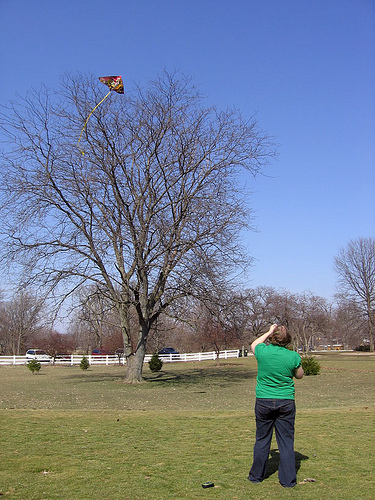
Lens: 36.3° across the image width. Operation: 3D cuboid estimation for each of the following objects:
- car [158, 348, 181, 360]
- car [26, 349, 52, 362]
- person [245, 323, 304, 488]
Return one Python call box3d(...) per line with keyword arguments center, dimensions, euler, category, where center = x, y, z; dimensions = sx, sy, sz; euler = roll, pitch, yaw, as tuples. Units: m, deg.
box3d(center=(-1.738, 10.614, 58.540), dimensions=(1.931, 0.877, 1.253), euler=(-5, -9, 22), category="car")
box3d(center=(-13.769, 9.737, 52.979), dimensions=(2.106, 1.365, 6.655), euler=(0, -12, -14), category="car")
box3d(center=(1.045, 1.851, 6.840), dimensions=(0.706, 1.876, 0.407), euler=(-5, -12, 11), category="person")
